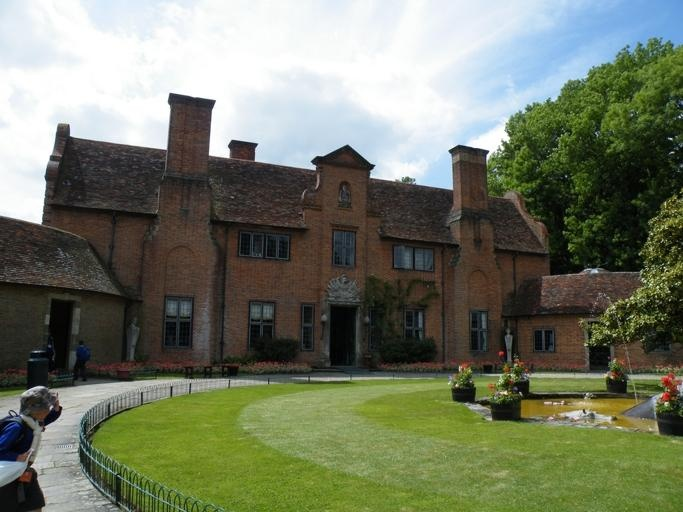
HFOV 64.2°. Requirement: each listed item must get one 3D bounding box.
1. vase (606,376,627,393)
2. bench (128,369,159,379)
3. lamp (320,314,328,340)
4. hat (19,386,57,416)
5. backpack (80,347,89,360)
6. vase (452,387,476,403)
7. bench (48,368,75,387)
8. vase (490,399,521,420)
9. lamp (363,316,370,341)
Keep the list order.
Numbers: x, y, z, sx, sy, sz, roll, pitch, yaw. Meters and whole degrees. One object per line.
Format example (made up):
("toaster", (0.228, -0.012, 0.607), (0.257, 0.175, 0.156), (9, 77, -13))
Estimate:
("vase", (10.553, 4.957, 20.976), (0.664, 0.440, 0.657), (9, -13, -38))
("bench", (-9.423, 5.664, 26.247), (1.046, 0.426, 4.049), (2, -12, -20))
("lamp", (-1.011, 4.272, 33.153), (0.410, 1.623, 0.336), (-2, -12, -3))
("hat", (-4.254, 2.005, 7.672), (0.357, 0.366, 0.438), (3, 7, 14))
("backpack", (-10.815, 4.103, 22.930), (0.449, 0.704, 0.340), (4, -13, -29))
("vase", (4.149, 4.742, 18.472), (0.623, 0.284, 0.540), (-2, -10, 9))
("bench", (-10.963, 4.853, 21.437), (0.860, 0.543, 1.907), (3, -13, -26))
("vase", (4.588, 4.345, 15.339), (0.636, 0.367, 0.634), (-8, -15, 29))
("lamp", (1.598, 4.557, 34.283), (0.408, 1.497, 0.789), (-3, -12, 5))
